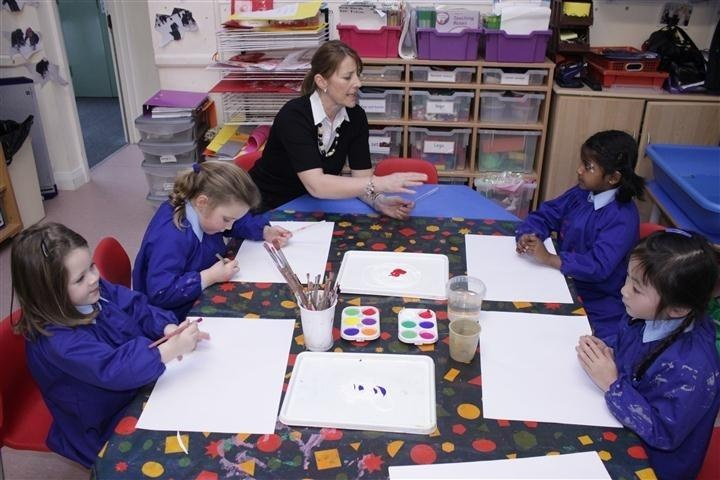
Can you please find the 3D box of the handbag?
[{"bbox_3d":[2.187,-1.280,3.264,0.360,0.400,0.431,5,23,13],"label":"handbag"}]

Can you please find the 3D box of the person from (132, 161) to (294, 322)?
[{"bbox_3d":[-0.557,0.016,1.854,0.429,0.722,0.430,24,43,-11],"label":"person"}]

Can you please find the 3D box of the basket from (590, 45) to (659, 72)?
[{"bbox_3d":[1.859,-1.270,3.305,0.474,0.159,0.404,7,24,17],"label":"basket"}]

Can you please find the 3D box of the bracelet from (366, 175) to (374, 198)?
[{"bbox_3d":[0.043,-0.226,2.074,0.024,0.061,0.044,0,15,4],"label":"bracelet"}]

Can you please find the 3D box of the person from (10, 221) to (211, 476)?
[{"bbox_3d":[-0.857,0.412,1.634,0.571,0.822,0.371,5,25,-4],"label":"person"}]

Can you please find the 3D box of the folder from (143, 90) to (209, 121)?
[{"bbox_3d":[-1.447,-1.074,3.681,0.427,0.175,0.405,0,22,0],"label":"folder"}]

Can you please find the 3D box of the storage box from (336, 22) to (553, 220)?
[{"bbox_3d":[0.542,-0.813,2.968,1.424,1.277,0.485,3,30,5],"label":"storage box"}]

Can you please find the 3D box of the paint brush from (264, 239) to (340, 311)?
[{"bbox_3d":[-0.216,0.122,1.582,0.309,0.117,0.150,43,52,17],"label":"paint brush"}]

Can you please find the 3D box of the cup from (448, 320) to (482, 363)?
[{"bbox_3d":[0.318,0.307,1.505,0.120,0.130,0.120,-2,30,1],"label":"cup"}]

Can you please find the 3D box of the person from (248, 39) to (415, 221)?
[{"bbox_3d":[-0.134,-0.540,2.321,0.961,0.778,0.544,22,29,32],"label":"person"}]

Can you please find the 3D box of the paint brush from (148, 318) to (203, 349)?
[{"bbox_3d":[-0.601,0.303,1.515,0.176,0.024,0.021,-33,26,-36],"label":"paint brush"}]

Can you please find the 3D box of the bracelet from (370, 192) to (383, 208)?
[{"bbox_3d":[0.073,-0.184,2.157,0.058,0.048,0.058,-1,10,1],"label":"bracelet"}]

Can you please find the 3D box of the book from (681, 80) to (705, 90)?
[{"bbox_3d":[2.227,-1.021,3.127,0.158,0.073,0.075,-4,23,-7],"label":"book"}]
